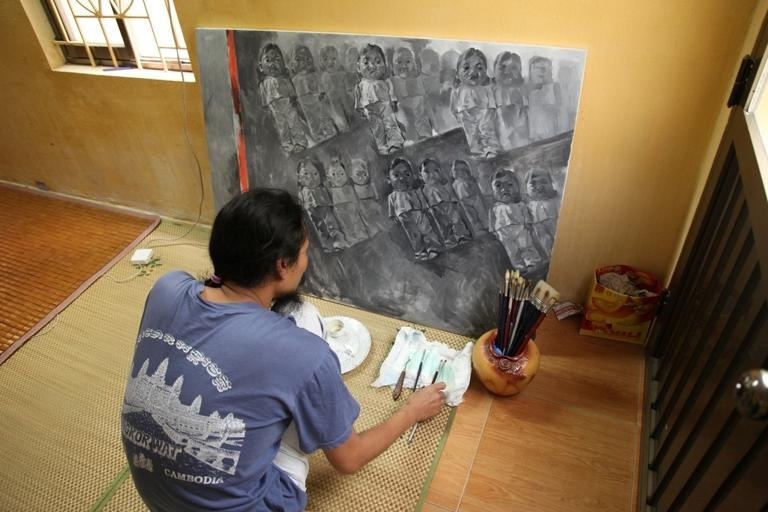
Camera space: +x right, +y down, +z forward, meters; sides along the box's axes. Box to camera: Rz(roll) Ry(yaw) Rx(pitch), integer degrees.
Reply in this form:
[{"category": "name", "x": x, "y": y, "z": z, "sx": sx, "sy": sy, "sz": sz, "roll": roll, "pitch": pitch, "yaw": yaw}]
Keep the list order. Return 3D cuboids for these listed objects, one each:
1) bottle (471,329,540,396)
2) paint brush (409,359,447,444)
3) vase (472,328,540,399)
[{"category": "bottle", "x": 0.578, "y": 0.501, "z": 2.236, "sx": 0.285, "sy": 0.316, "sz": 0.313, "roll": 13, "pitch": 39, "yaw": 25}, {"category": "paint brush", "x": 0.197, "y": 0.662, "z": 2.106, "sx": 0.048, "sy": 0.029, "sz": 0.376, "roll": 36, "pitch": 66, "yaw": 3}, {"category": "vase", "x": 0.547, "y": 0.502, "z": 2.212, "sx": 0.252, "sy": 0.280, "sz": 0.278, "roll": 33, "pitch": 52, "yaw": 33}]
